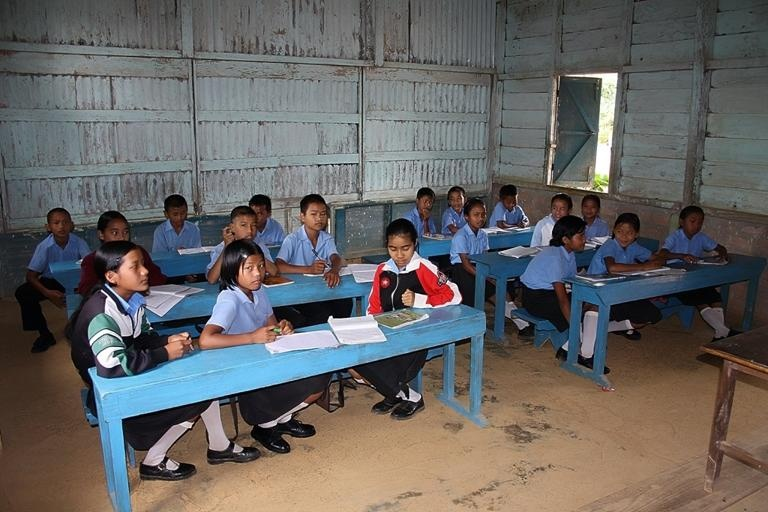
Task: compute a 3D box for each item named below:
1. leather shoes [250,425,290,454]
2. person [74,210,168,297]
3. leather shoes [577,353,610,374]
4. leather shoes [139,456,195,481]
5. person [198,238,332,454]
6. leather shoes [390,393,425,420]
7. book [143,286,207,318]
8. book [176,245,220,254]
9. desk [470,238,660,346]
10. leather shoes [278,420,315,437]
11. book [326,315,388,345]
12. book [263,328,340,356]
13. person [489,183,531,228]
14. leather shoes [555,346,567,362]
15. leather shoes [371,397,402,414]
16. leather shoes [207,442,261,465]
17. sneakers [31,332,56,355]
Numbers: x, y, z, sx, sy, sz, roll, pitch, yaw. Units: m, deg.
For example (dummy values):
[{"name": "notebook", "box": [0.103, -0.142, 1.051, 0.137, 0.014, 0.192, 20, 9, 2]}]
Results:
[{"name": "leather shoes", "box": [-0.858, 1.428, 3.957, 0.336, 0.139, 0.145, 24, 14, 16]}, {"name": "person", "box": [-2.437, -0.043, 4.591, 0.945, 0.803, 0.537, -12, 20, -41]}, {"name": "leather shoes", "box": [2.099, 1.079, 5.005, 0.142, 0.150, 0.388, -7, 12, -43]}, {"name": "leather shoes", "box": [-1.535, 1.550, 3.627, 0.376, 0.143, 0.165, 0, 6, -9]}, {"name": "person", "box": [-0.836, 0.710, 3.824, 0.993, 1.480, 0.904, 3, 10, -12]}, {"name": "leather shoes", "box": [0.217, 1.313, 4.328, 0.275, 0.103, 0.132, -4, 6, -42]}, {"name": "book", "box": [-1.789, 0.356, 4.121, 0.271, 0.058, 0.307, 9, 29, 22]}, {"name": "book", "box": [-2.027, -0.058, 5.428, 0.315, 0.013, 0.152, -8, 17, -39]}, {"name": "desk", "box": [1.858, 0.260, 6.081, 1.739, 0.798, 0.596, -15, 35, -36]}, {"name": "leather shoes", "box": [-0.681, 1.392, 4.081, 0.323, 0.130, 0.124, 0, 10, 4]}, {"name": "book", "box": [-0.183, 0.536, 3.576, 0.237, 0.055, 0.232, -1, 19, -23]}, {"name": "book", "box": [-0.545, 0.585, 3.381, 0.283, 0.047, 0.188, -7, 28, -16]}, {"name": "person", "box": [1.904, -0.687, 7.634, 0.625, 0.710, 0.575, 8, 14, 32]}, {"name": "leather shoes", "box": [1.852, 1.024, 5.224, 0.146, 0.137, 0.088, 5, -3, -44]}, {"name": "leather shoes", "box": [0.020, 1.297, 4.384, 0.293, 0.117, 0.113, 1, 7, -30]}, {"name": "leather shoes", "box": [-1.120, 1.497, 3.835, 0.400, 0.142, 0.156, -1, 4, -8]}, {"name": "sneakers", "box": [-3.635, 0.935, 5.376, 0.132, 0.125, 0.293, 2, -2, -8]}]
